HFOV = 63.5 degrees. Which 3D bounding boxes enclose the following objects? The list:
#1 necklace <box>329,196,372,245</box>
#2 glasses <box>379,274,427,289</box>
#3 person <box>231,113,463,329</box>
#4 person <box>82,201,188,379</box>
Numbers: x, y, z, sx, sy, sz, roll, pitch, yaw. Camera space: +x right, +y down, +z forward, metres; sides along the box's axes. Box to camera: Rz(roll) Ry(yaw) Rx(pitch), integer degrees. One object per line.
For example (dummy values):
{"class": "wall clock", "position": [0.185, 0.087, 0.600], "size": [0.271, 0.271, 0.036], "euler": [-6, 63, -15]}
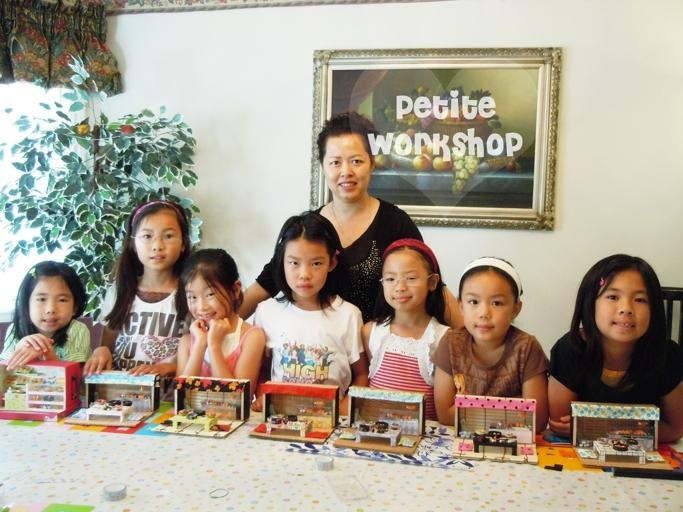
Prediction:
{"class": "necklace", "position": [0.050, -0.139, 2.196], "size": [0.156, 0.196, 0.197], "euler": [-12, -20, 1]}
{"class": "glasses", "position": [0.211, 0.087, 1.902], "size": [0.142, 0.041, 0.054], "euler": [4, 2, 8]}
{"class": "person", "position": [0.039, -0.069, 2.222], "size": [1.084, 0.956, 0.290], "euler": [-4, 18, -1]}
{"class": "person", "position": [-0.765, 0.193, 2.248], "size": [0.375, 0.992, 0.266], "euler": [2, 33, -20]}
